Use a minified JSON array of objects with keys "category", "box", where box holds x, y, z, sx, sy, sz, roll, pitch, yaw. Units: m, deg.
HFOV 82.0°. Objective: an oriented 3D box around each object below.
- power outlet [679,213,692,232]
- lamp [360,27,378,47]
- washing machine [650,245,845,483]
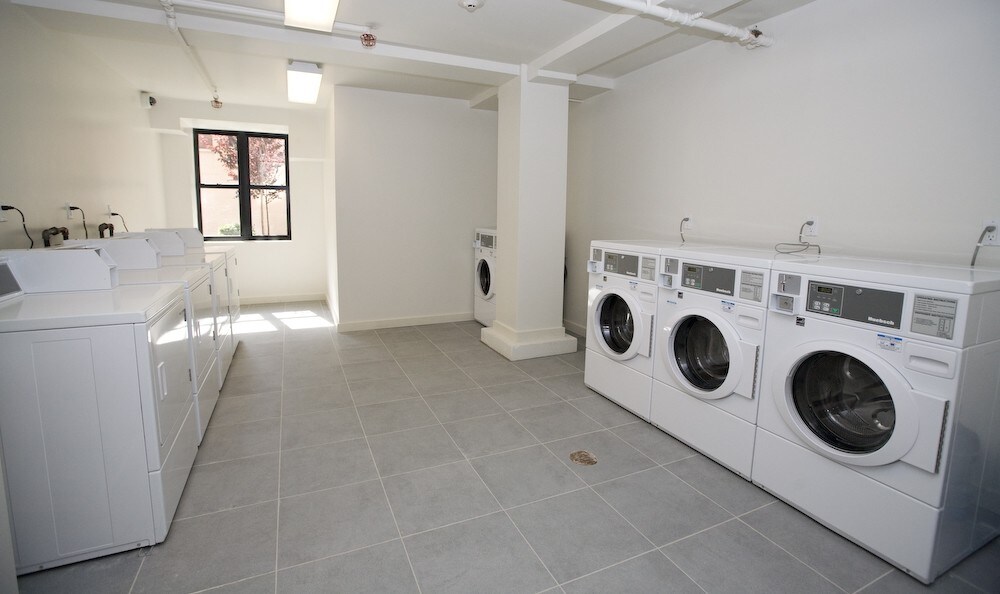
[{"category":"power outlet","box":[1.756,-0.693,5.489,0.030,0.151,0.142,-6,14,-27]},{"category":"lamp","box":[-1.193,-2.319,5.218,0.143,0.120,0.235,-2,13,-13]},{"category":"washing machine","box":[1.796,0.432,4.590,0.856,1.625,0.920,-15,22,-33]}]
